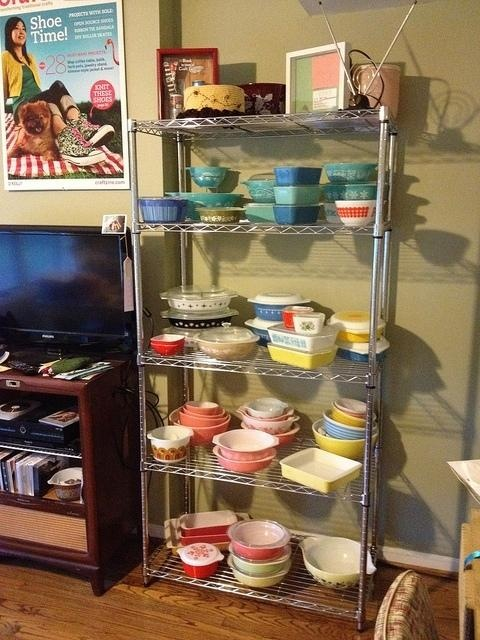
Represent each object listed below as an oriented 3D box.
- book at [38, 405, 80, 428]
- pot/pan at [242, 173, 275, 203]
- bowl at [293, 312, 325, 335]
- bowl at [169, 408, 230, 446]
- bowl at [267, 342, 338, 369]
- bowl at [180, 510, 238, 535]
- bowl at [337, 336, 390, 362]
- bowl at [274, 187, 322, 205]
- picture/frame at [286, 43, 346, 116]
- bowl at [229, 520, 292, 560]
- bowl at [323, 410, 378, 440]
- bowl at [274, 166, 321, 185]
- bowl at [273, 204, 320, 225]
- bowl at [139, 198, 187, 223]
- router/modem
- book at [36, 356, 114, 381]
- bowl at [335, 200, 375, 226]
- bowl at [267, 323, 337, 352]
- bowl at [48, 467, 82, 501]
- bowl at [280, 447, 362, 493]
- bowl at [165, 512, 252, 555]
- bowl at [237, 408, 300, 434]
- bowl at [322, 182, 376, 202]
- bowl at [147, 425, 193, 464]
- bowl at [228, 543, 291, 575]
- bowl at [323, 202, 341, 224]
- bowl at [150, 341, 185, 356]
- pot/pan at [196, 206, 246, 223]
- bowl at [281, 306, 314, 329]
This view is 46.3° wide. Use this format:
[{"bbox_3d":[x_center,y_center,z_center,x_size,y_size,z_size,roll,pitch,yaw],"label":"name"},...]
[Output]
[{"bbox_3d":[-0.618,0.342,1.957,0.086,0.017,0.084,7,14,28],"label":"book"},{"bbox_3d":[0.070,-0.442,1.922,0.141,0.083,0.123,3,13,22],"label":"pot/pan"},{"bbox_3d":[0.207,0.010,1.649,0.069,0.039,0.078,-1,-2,-30],"label":"bowl"},{"bbox_3d":[-0.144,0.370,2.034,0.166,0.063,0.155,0,-2,0],"label":"bowl"},{"bbox_3d":[0.174,0.109,1.708,0.154,0.040,0.095,2,4,32],"label":"bowl"},{"bbox_3d":[-0.122,0.782,2.155,0.145,0.038,0.091,-2,14,-6],"label":"bowl"},{"bbox_3d":[0.400,0.083,1.748,0.111,0.034,0.094,-2,4,-28],"label":"bowl"},{"bbox_3d":[0.185,-0.374,1.705,0.114,0.041,0.068,-2,10,-6],"label":"bowl"},{"bbox_3d":[0.198,-0.727,1.703,0.207,0.185,0.114,-20,35,-24],"label":"picture/frame"},{"bbox_3d":[0.074,0.754,1.929,0.196,0.043,0.207,1,10,0],"label":"bowl"},{"bbox_3d":[0.353,0.339,1.801,0.158,0.051,0.154,5,1,0],"label":"bowl"},{"bbox_3d":[0.176,-0.438,1.749,0.108,0.039,0.072,-4,8,-34],"label":"bowl"},{"bbox_3d":[0.171,-0.317,1.699,0.114,0.041,0.071,-1,7,-6],"label":"bowl"},{"bbox_3d":[-0.238,-0.342,1.808,0.108,0.042,0.104,0,7,0],"label":"bowl"},{"bbox_3d":[0.391,-0.804,1.705,0.295,0.319,0.374,1,16,10],"label":"router/modem"},{"bbox_3d":[-0.556,0.167,1.921,0.123,0.025,0.110,7,14,27],"label":"book"},{"bbox_3d":[0.337,-0.311,1.618,0.109,0.060,0.102,-1,5,0],"label":"bowl"},{"bbox_3d":[0.183,0.047,1.706,0.146,0.041,0.098,3,7,40],"label":"bowl"},{"bbox_3d":[-0.622,0.583,2.023,0.122,0.051,0.131,0,-6,0],"label":"bowl"},{"bbox_3d":[0.252,0.477,1.768,0.167,0.077,0.210,-16,21,-42],"label":"bowl"},{"bbox_3d":[-0.138,0.788,2.133,0.247,0.064,0.168,-3,10,-12],"label":"bowl"},{"bbox_3d":[0.089,0.353,1.932,0.138,0.046,0.106,0,1,12],"label":"bowl"},{"bbox_3d":[0.331,-0.379,1.680,0.129,0.058,0.204,-3,15,-4],"label":"bowl"},{"bbox_3d":[-0.243,0.420,1.934,0.150,0.096,0.171,3,16,16],"label":"bowl"},{"bbox_3d":[0.067,0.809,1.881,0.212,0.076,0.120,-1,16,2],"label":"bowl"},{"bbox_3d":[0.283,-0.342,1.785,0.069,0.054,0.069,-1,6,0],"label":"bowl"},{"bbox_3d":[-0.243,0.087,1.858,0.065,0.031,0.079,0,-1,14],"label":"bowl"},{"bbox_3d":[-0.067,-0.349,1.871,0.150,0.052,0.144,-2,15,-1],"label":"pot/pan"},{"bbox_3d":[0.167,-0.010,1.747,0.077,0.046,0.081,0,5,0],"label":"bowl"}]
